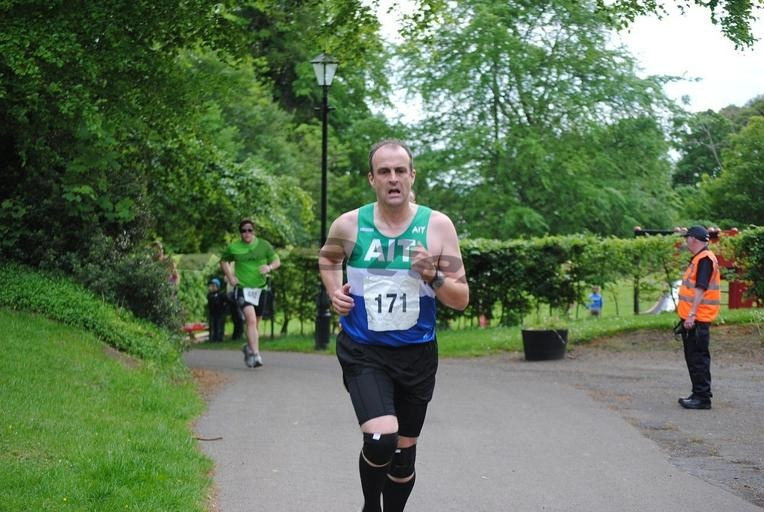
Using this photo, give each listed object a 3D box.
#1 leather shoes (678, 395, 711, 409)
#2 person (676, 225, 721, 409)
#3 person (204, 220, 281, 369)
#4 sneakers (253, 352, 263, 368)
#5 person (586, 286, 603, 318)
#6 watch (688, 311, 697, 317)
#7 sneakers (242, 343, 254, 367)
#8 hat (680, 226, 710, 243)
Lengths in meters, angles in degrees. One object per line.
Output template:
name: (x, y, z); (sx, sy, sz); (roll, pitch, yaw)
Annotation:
leather shoes: (4.961, 2.336, 13.690); (0.325, 0.135, 0.252); (4, -6, 2)
person: (5.118, 0.966, 14.007); (0.653, 2.974, 0.789); (-2, -3, 21)
person: (-2.518, 0.721, 16.454); (1.026, 2.856, 0.901); (0, -3, -9)
sneakers: (-2.352, 2.035, 16.640); (0.108, 0.239, 0.330); (2, -25, -15)
person: (5.811, 1.238, 23.572); (0.346, 0.826, 0.881); (-1, -4, 14)
watch: (4.974, 0.940, 13.848); (0.109, 0.108, 0.042); (0, -3, -8)
sneakers: (-2.585, 1.996, 16.685); (0.167, 0.227, 0.525); (6, -37, -3)
hat: (5.115, -0.383, 14.140); (0.257, 0.199, 0.357); (2, 13, -40)
